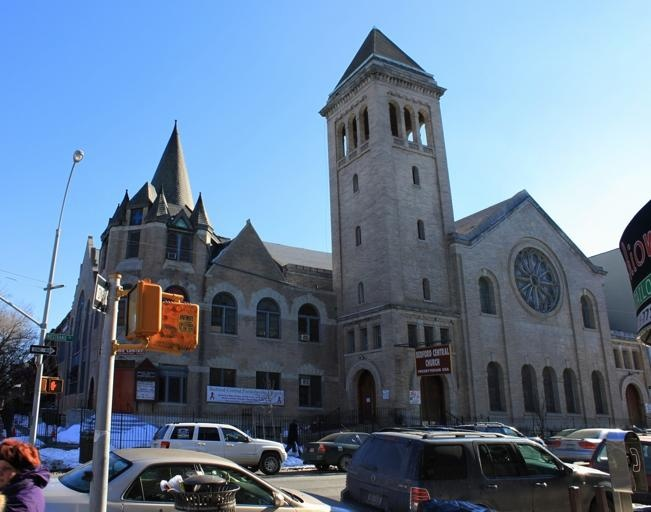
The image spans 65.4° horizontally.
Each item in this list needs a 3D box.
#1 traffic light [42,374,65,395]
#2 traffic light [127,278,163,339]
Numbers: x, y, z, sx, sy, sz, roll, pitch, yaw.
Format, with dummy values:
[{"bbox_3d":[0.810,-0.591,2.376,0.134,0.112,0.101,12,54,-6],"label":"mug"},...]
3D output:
[{"bbox_3d":[-11.918,5.595,22.066,0.802,0.720,1.223,10,-25,-27],"label":"traffic light"},{"bbox_3d":[-2.485,0.763,6.982,0.256,0.697,0.677,6,-16,-35],"label":"traffic light"}]
